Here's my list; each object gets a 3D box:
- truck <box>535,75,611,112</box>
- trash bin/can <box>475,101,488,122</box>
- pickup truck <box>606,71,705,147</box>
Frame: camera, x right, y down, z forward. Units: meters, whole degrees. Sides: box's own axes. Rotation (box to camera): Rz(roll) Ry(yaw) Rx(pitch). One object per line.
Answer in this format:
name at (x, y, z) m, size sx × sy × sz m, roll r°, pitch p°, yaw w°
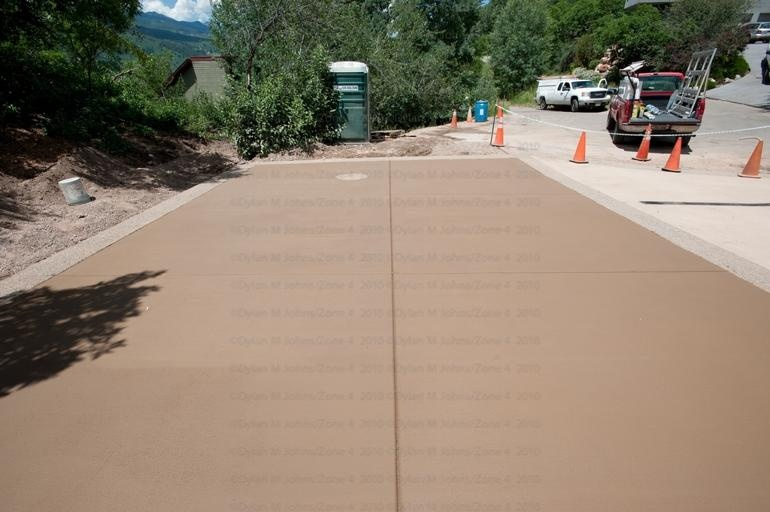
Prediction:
truck at (10.060, -8.766, 30.330) m, size 2.298 × 1.469 × 4.012 m, roll -11°, pitch 24°, yaw -13°
trash bin/can at (4.547, -6.923, 27.088) m, size 0.547 × 1.067 × 1.241 m, roll 4°, pitch 36°, yaw 6°
pickup truck at (8.088, -4.579, 17.710) m, size 2.084 × 1.665 × 3.809 m, roll 1°, pitch 31°, yaw 10°
